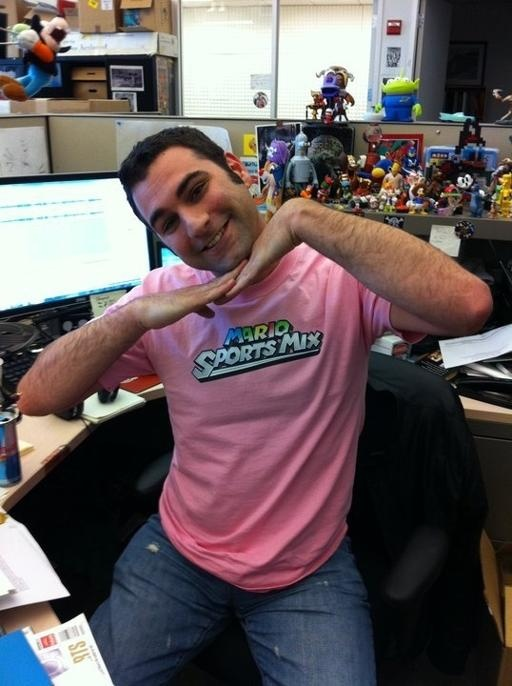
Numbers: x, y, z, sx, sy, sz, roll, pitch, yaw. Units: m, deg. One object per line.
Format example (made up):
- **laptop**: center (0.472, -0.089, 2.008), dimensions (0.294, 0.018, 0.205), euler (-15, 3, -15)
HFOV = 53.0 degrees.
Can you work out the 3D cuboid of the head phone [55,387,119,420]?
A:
- **head phone**: center (-0.334, 0.122, 1.009), dimensions (0.094, 0.084, 0.035), euler (-30, 73, -10)
